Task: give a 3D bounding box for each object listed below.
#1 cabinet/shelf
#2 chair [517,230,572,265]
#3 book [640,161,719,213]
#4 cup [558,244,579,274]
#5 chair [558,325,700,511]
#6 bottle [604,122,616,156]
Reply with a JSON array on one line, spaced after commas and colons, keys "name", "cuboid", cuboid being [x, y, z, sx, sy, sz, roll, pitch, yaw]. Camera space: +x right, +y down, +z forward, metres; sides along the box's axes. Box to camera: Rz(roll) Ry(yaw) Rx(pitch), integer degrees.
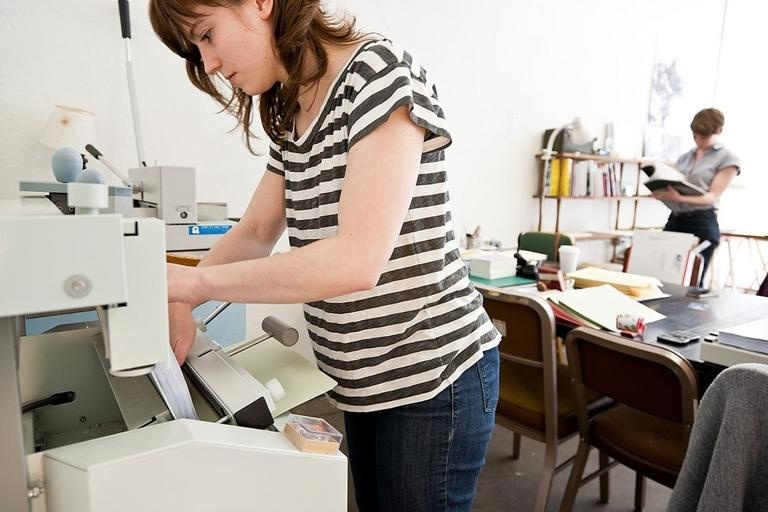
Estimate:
[{"name": "cabinet/shelf", "cuboid": [1.639, -0.370, 4.218, 1.052, 0.865, 0.310, -4, 7, -36]}, {"name": "chair", "cuboid": [1.043, -0.072, 3.480, 0.321, 0.124, 0.231, -3, 6, -42]}, {"name": "book", "cuboid": [2.076, -0.551, 3.592, 0.391, 0.141, 0.355, 30, -8, -30]}, {"name": "cup", "cuboid": [0.894, 0.023, 2.573, 0.124, 0.131, 0.124, 1, 2, 0]}, {"name": "chair", "cuboid": [0.847, 0.558, 1.749, 0.424, 0.684, 0.348, 3, 9, 44]}, {"name": "bottle", "cuboid": [2.054, -1.071, 4.741, 0.090, 0.307, 0.294, 0, 7, 23]}]
